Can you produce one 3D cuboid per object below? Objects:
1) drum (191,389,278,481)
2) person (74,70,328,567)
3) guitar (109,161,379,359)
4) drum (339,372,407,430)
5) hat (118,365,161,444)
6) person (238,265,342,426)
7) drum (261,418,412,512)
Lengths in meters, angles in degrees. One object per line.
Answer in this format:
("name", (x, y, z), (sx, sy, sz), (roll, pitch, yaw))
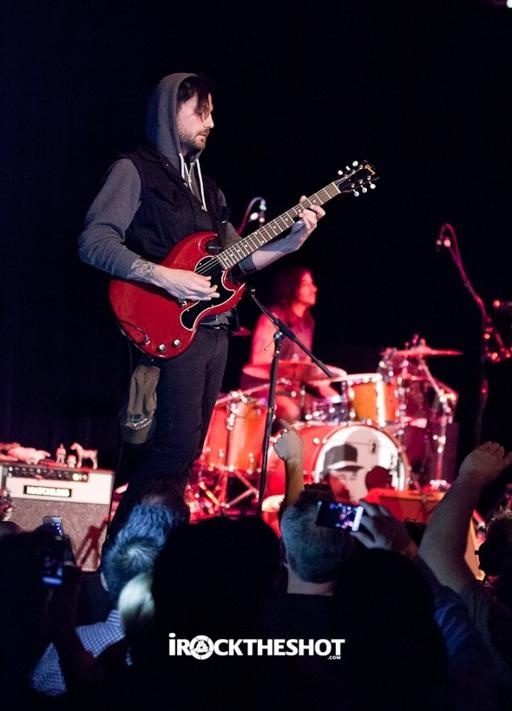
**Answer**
("drum", (-0.141, 0.465, 4.020), (0.470, 0.582, 0.510), (5, 16, -26))
("person", (-0.187, -0.118, 2.500), (0.877, 1.872, 0.490), (0, 1, -36))
("guitar", (-0.099, -0.373, 2.434), (0.238, 0.664, 0.946), (20, 19, 38))
("drum", (0.711, 0.277, 3.882), (0.355, 0.247, 0.346), (1, -9, 0))
("hat", (-0.415, 0.168, 2.283), (0.164, 0.255, 0.135), (-11, 31, -30))
("person", (0.231, -0.038, 4.249), (0.431, 0.329, 1.096), (-5, 30, 11))
("drum", (0.443, 0.554, 3.590), (0.599, 0.579, 0.591), (2, -1, -41))
